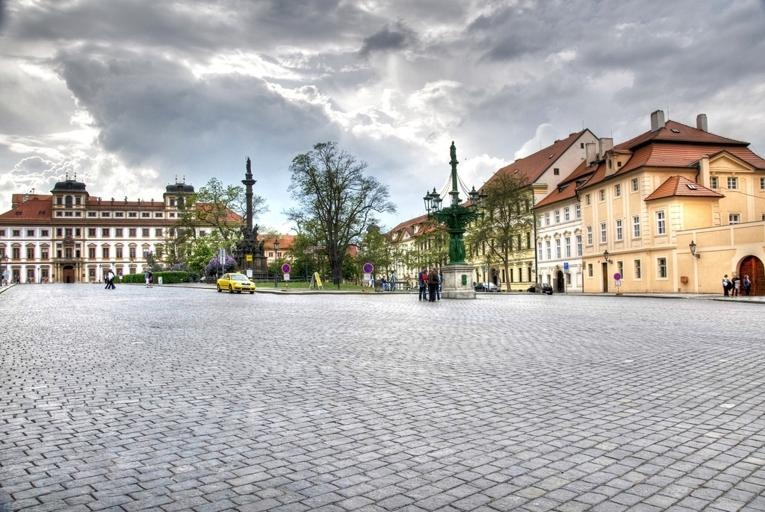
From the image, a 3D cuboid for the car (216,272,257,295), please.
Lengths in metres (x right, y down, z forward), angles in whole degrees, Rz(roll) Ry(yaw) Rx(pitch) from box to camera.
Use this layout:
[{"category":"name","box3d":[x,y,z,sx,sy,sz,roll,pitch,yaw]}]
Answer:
[{"category":"car","box3d":[-9.096,1.634,42.149,1.219,0.887,2.899,4,-6,-31]}]

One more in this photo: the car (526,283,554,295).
[{"category":"car","box3d":[12.585,2.559,53.331,0.846,0.589,1.835,0,1,-14]}]

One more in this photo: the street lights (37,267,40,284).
[{"category":"street lights","box3d":[-60.551,3.041,119.348,0.701,2.263,0.421,-3,7,-25]}]
